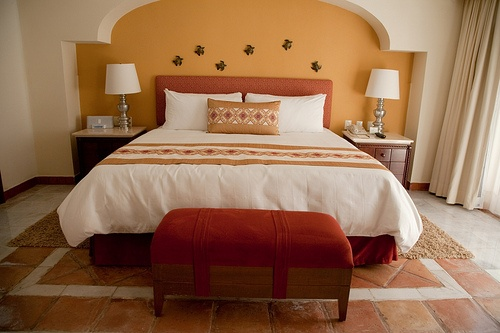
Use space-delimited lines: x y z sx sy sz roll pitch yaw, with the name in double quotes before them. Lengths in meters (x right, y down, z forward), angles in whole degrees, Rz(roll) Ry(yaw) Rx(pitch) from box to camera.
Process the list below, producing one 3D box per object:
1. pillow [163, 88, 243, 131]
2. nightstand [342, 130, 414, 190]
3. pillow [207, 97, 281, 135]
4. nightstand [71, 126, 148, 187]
"pillow" -0.686 -0.803 4.846 0.745 0.389 0.161 2 -4 3
"nightstand" 1.905 -0.253 5.300 1.090 1.001 0.775 1 17 -1
"pillow" -0.098 -0.696 4.759 1.004 0.478 0.269 2 5 1
"nightstand" -2.174 -0.333 5.193 1.152 1.000 0.798 -1 16 -5
